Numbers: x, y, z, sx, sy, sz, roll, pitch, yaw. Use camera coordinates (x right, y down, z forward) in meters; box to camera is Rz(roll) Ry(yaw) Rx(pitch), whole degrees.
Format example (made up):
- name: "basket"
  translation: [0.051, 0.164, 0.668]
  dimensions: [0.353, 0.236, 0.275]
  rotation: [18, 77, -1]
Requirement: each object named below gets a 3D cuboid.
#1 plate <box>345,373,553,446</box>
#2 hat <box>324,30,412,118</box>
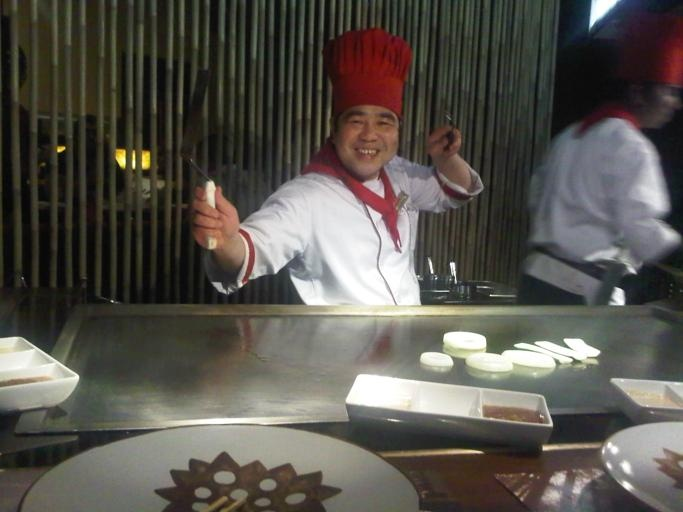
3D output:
- name: "plate"
  translation: [0.196, 0.276, 1.069]
  dimensions: [0.288, 0.058, 0.148]
  rotation: [2, 9, 13]
- name: "hat"
  translation: [0.116, -0.698, 2.399]
  dimensions: [0.305, 0.259, 0.323]
  rotation: [-2, -4, 36]
